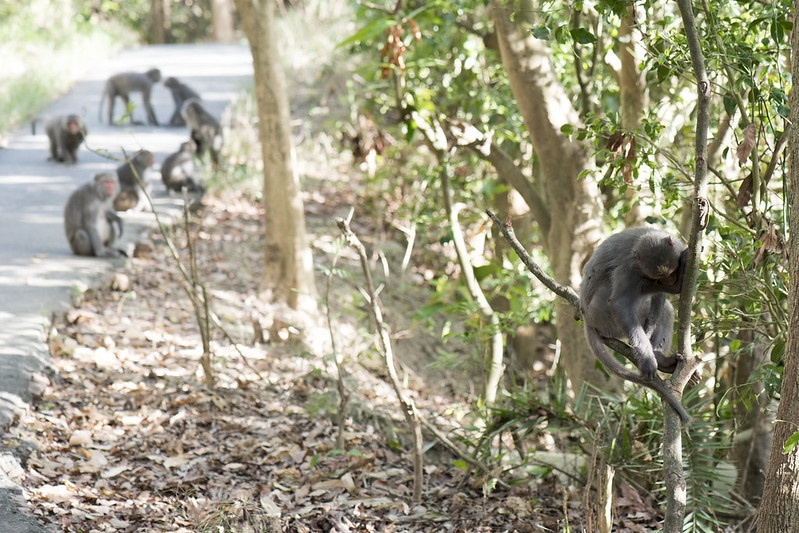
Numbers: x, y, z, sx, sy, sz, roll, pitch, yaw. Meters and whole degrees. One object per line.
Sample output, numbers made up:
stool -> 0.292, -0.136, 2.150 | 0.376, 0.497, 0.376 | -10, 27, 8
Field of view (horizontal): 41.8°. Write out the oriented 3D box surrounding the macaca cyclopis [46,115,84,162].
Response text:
macaca cyclopis -> -4.406, -1.628, 13.577 | 0.375, 0.616, 1.533 | -4, 8, -33

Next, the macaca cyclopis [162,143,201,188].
macaca cyclopis -> -2.935, -1.319, 14.041 | 0.511, 0.699, 0.901 | 0, 3, -11

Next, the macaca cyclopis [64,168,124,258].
macaca cyclopis -> -3.427, -0.567, 11.787 | 0.666, 0.952, 0.379 | -1, 3, -24

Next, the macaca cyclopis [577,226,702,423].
macaca cyclopis -> 1.734, 0.424, 7.800 | 0.780, 1.409, 0.510 | 1, 3, 8

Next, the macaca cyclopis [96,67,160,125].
macaca cyclopis -> -3.919, -2.500, 15.481 | 1.205, 0.828, 0.333 | -3, 6, 21
